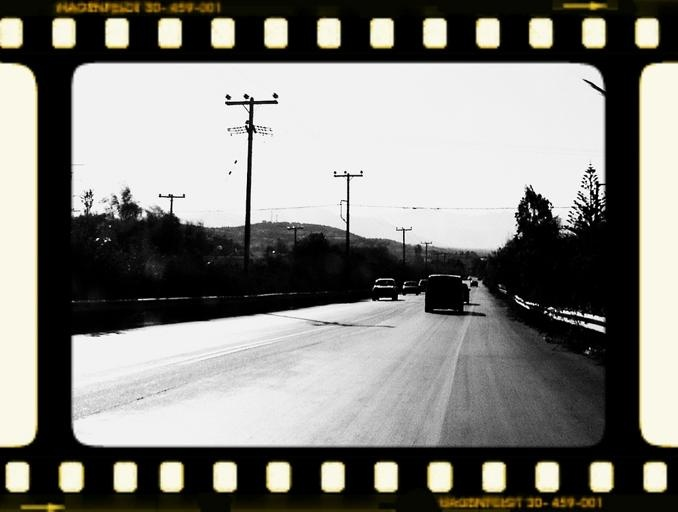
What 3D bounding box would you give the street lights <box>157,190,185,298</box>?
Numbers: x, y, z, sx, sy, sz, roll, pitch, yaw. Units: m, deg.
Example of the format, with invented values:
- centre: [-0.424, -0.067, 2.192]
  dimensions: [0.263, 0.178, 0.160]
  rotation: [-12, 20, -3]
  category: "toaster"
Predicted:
- centre: [-8.635, -0.028, 43.765]
  dimensions: [0.683, 5.724, 0.592]
  rotation: [-2, 4, -32]
  category: "street lights"
